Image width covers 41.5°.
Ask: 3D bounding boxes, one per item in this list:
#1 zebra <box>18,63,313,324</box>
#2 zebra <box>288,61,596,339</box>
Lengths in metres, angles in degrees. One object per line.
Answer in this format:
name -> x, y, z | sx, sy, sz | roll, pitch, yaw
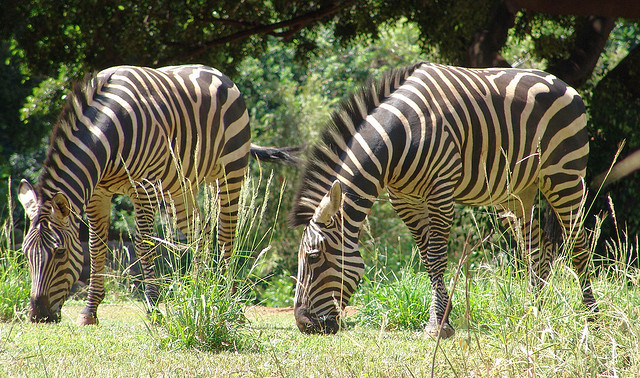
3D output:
zebra -> -2.219, -0.262, 13.431 | 1.502, 3.952, 7.260 | 6, 15, 25
zebra -> 1.862, 0.042, 12.111 | 4.468, 4.184, 1.455 | -5, 9, -15
